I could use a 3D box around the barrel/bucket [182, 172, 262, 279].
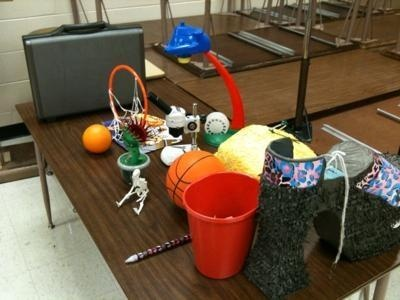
[{"bbox_3d":[0.026,0.136,0.684,0.170,0.188,0.171,-1,30,1],"label":"barrel/bucket"}]

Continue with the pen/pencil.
[{"bbox_3d":[-0.085,0.207,0.666,0.156,0.020,0.018,-19,45,-18],"label":"pen/pencil"}]
